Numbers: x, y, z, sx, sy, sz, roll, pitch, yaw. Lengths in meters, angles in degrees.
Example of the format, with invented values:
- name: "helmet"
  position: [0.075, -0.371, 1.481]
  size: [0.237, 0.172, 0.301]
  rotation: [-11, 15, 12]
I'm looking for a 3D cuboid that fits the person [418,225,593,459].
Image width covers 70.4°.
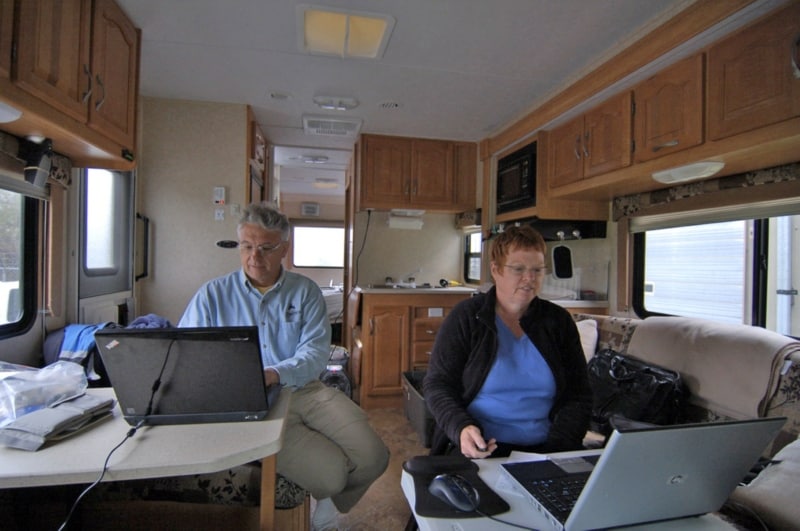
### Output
- name: "person"
  position: [0.546, 0.372, 2.842]
  size: [0.809, 1.150, 0.450]
  rotation: [-1, 2, -22]

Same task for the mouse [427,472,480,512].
- name: "mouse"
  position: [0.212, 0.900, 2.310]
  size: [0.144, 0.083, 0.238]
  rotation: [2, 7, -36]

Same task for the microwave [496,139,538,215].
- name: "microwave"
  position: [0.984, -0.711, 4.840]
  size: [0.450, 0.434, 0.706]
  rotation: [2, -8, -5]

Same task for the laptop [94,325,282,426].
- name: "laptop"
  position: [-0.958, 0.479, 2.753]
  size: [0.607, 0.395, 0.538]
  rotation: [1, 2, -1]
